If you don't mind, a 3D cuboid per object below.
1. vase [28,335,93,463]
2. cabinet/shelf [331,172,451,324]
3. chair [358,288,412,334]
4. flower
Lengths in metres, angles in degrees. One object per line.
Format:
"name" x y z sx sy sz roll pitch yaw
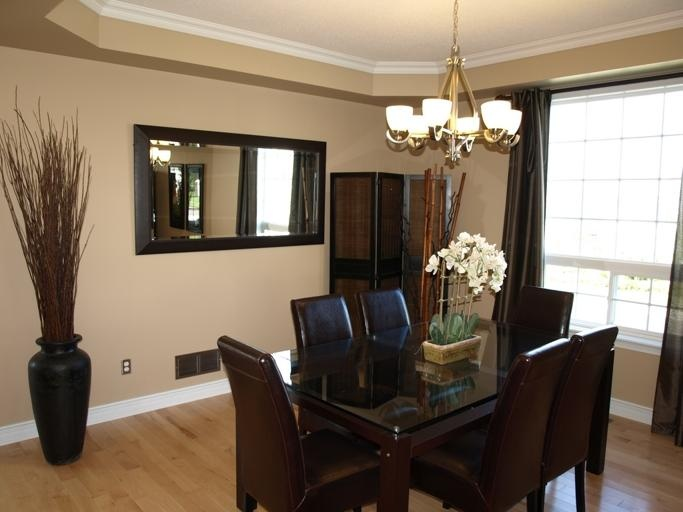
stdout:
"vase" -2.094 1.078 3.836 0.405 0.917 0.282 -7 15 -28
"cabinet/shelf" 0.472 -0.137 5.194 1.175 2.370 0.695 -6 14 -32
"chair" 0.336 0.402 4.173 0.382 0.614 0.317 -2 0 -35
"flower" 1.006 0.255 4.209 0.702 1.014 0.541 -8 14 -41
